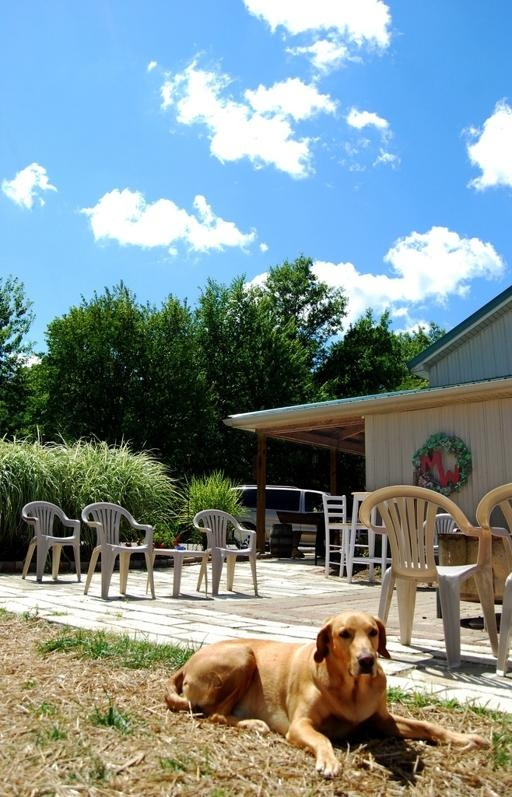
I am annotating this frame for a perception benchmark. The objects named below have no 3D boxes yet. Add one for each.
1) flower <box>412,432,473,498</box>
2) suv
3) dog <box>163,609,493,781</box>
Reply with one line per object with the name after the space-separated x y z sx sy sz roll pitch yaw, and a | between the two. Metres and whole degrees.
2.742 0.961 9.448 0.350 1.037 0.842 1 -16 -38 | flower
0.597 2.520 14.457 2.367 1.372 1.465 0 -9 -14 | suv
0.119 0.787 1.991 0.454 0.311 0.740 12 -18 -33 | dog
